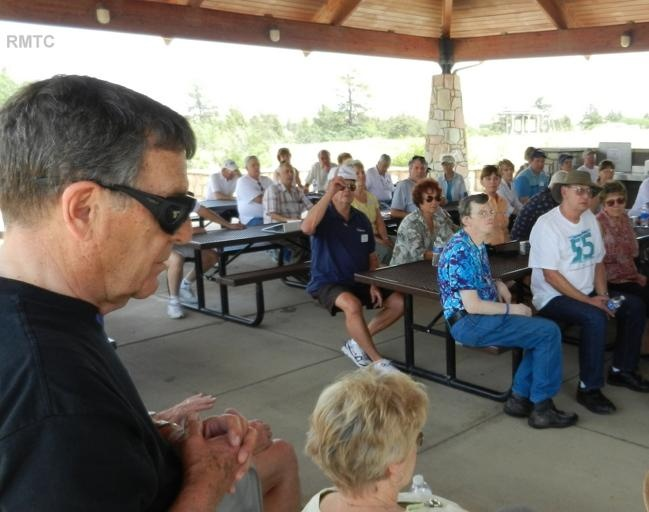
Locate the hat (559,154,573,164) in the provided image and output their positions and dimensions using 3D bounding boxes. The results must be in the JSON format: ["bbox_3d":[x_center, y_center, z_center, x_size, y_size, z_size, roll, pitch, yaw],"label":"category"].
[{"bbox_3d":[4.751,-1.969,11.064,0.237,0.176,0.355,-5,0,-1],"label":"hat"}]

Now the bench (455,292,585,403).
[{"bbox_3d":[1.351,0.629,4.135,0.693,0.742,0.640,-11,6,0],"label":"bench"}]

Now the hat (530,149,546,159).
[{"bbox_3d":[3.707,-1.787,9.775,0.220,0.157,0.352,1,9,23],"label":"hat"}]

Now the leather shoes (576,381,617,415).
[{"bbox_3d":[1.909,1.009,4.008,0.141,0.112,0.281,-15,17,-30],"label":"leather shoes"}]

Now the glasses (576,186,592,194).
[{"bbox_3d":[1.909,-0.486,4.126,0.123,0.058,0.042,-6,9,-26],"label":"glasses"}]

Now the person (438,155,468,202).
[{"bbox_3d":[2.274,-1.381,10.207,0.663,0.855,0.603,-3,2,31],"label":"person"}]

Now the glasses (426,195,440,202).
[{"bbox_3d":[1.094,-0.577,5.521,0.184,0.063,0.077,-9,11,-39],"label":"glasses"}]

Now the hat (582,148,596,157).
[{"bbox_3d":[5.467,-2.158,11.591,0.297,0.196,0.296,0,10,16],"label":"hat"}]

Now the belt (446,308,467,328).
[{"bbox_3d":[0.944,0.442,4.035,0.137,0.052,0.100,-36,-12,-4],"label":"belt"}]

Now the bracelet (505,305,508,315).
[{"bbox_3d":[1.248,0.364,3.836,0.029,0.075,0.021,-2,9,7],"label":"bracelet"}]

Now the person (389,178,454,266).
[{"bbox_3d":[1.041,-0.304,5.599,0.695,0.832,0.790,-8,10,-39],"label":"person"}]

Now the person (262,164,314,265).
[{"bbox_3d":[-0.454,-0.530,7.827,0.871,1.475,0.800,-3,13,-16],"label":"person"}]

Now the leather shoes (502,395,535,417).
[{"bbox_3d":[1.344,1.054,3.956,0.214,0.132,0.105,1,6,-25],"label":"leather shoes"}]
